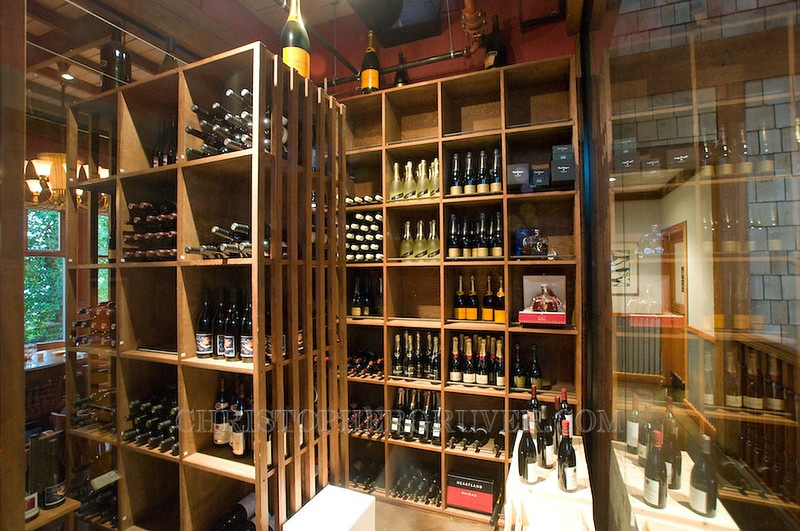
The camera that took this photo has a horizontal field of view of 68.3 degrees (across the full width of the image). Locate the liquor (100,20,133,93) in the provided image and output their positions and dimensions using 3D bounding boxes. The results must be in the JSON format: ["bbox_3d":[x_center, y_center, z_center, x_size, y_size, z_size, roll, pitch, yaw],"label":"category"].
[{"bbox_3d":[-1.521,-1.107,3.161,0.095,0.324,0.217,-2,-1,10],"label":"liquor"}]
